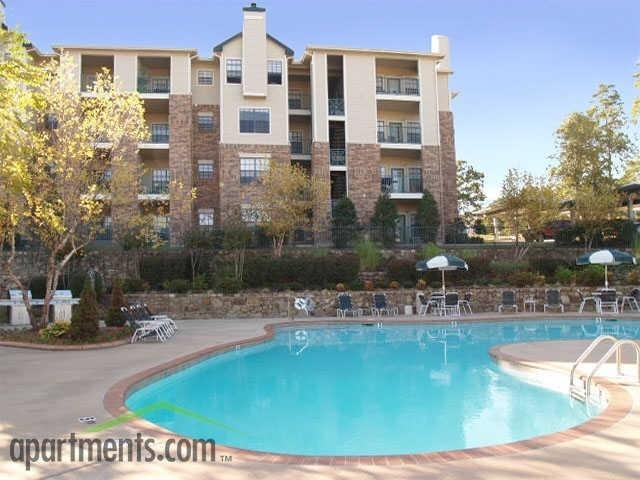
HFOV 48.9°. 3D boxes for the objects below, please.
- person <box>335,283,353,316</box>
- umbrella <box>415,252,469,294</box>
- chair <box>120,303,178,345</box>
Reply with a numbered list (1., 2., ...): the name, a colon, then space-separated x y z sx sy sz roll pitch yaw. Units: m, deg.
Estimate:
1. person: 1.242 3.260 34.973 0.854 0.362 1.575 6 40 -8
2. umbrella: 6.063 1.350 35.100 2.253 2.075 2.326 4 -3 3
3. chair: -6.885 3.381 28.572 1.769 1.374 2.459 0 -3 -3
